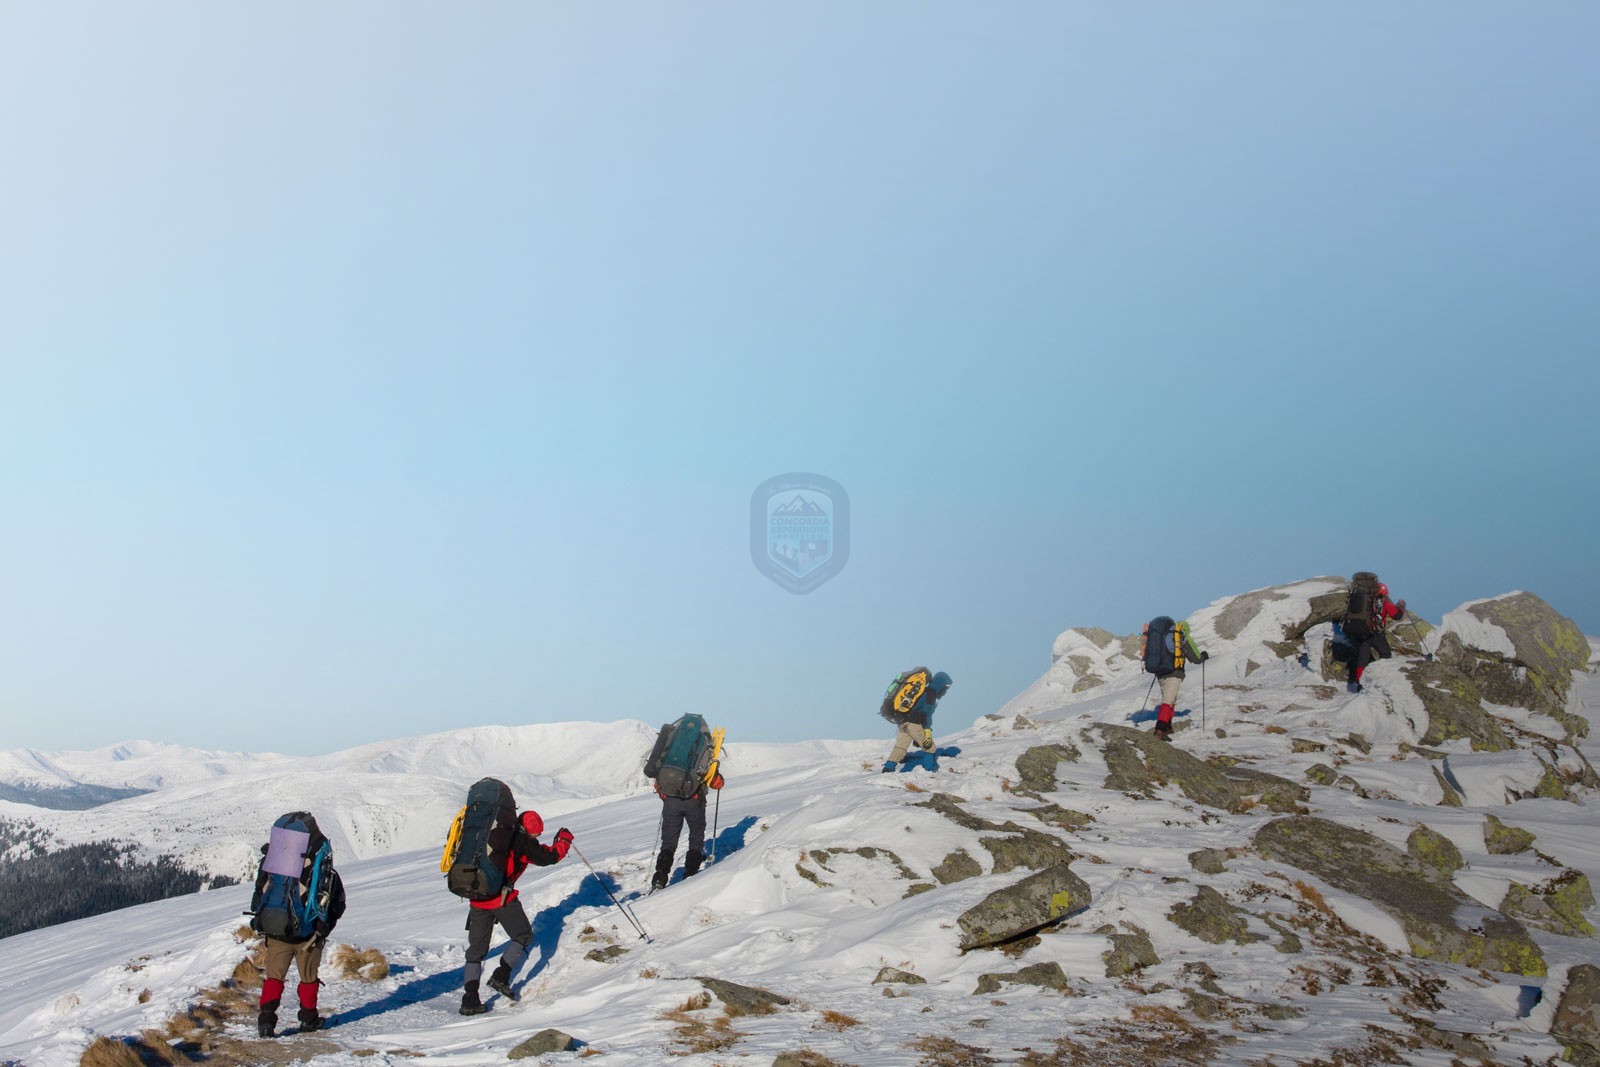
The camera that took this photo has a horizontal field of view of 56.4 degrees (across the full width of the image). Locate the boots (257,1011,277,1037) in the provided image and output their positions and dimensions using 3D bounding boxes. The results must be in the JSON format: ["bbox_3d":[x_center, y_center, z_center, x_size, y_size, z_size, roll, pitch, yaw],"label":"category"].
[{"bbox_3d":[-10.273,10.444,28.787,0.319,0.542,0.387,-29,-28,37],"label":"boots"}]

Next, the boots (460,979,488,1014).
[{"bbox_3d":[-6.633,10.440,30.345,0.530,0.741,0.810,1,-19,-13],"label":"boots"}]

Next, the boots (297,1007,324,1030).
[{"bbox_3d":[-9.593,10.501,29.223,0.427,0.453,0.246,2,-19,-16],"label":"boots"}]
